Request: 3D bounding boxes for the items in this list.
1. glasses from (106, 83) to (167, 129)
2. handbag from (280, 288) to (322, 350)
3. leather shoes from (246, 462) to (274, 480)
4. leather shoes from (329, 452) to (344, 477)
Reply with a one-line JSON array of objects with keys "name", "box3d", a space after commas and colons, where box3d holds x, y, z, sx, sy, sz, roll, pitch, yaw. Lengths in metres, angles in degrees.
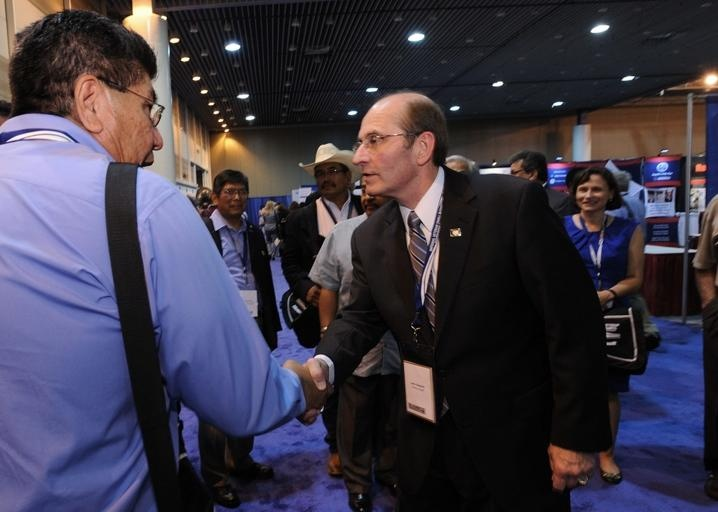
[{"name": "glasses", "box3d": [-0.609, -0.407, 1.482, 0.091, 0.027, 0.091, 26, 0, -1]}, {"name": "handbag", "box3d": [-0.378, 0.372, 3.370, 0.135, 0.273, 0.346, -20, 57, -22]}, {"name": "leather shoes", "box3d": [-0.597, 1.299, 3.275, 0.124, 0.047, 0.090, 5, 0, -15]}, {"name": "leather shoes", "box3d": [-0.144, 1.278, 3.330, 0.080, 0.084, 0.192, 1, -7, -8]}]
